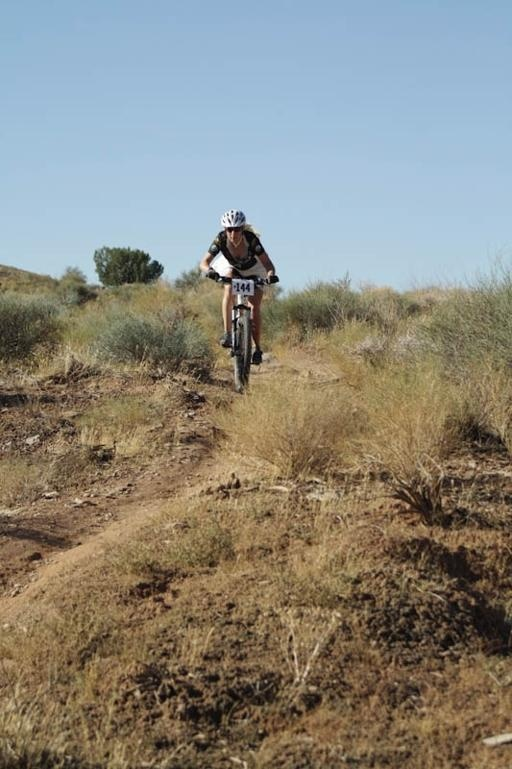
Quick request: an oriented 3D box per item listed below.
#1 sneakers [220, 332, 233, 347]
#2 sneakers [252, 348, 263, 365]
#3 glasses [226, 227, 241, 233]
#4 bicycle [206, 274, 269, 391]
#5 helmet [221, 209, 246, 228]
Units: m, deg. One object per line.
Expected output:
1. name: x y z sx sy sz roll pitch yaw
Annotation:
1. sneakers: -0.347 -0.523 7.335 0.127 0.141 0.279 -5 8 -3
2. sneakers: 0.007 -0.322 7.193 0.098 0.161 0.191 -5 8 -8
3. glasses: -0.249 -1.689 6.884 0.162 0.055 0.149 -5 8 2
4. bicycle: -0.123 -0.595 7.404 0.632 1.511 0.980 -3 7 6
5. helmet: -0.236 -1.775 6.789 0.232 0.167 0.293 -6 8 -5
